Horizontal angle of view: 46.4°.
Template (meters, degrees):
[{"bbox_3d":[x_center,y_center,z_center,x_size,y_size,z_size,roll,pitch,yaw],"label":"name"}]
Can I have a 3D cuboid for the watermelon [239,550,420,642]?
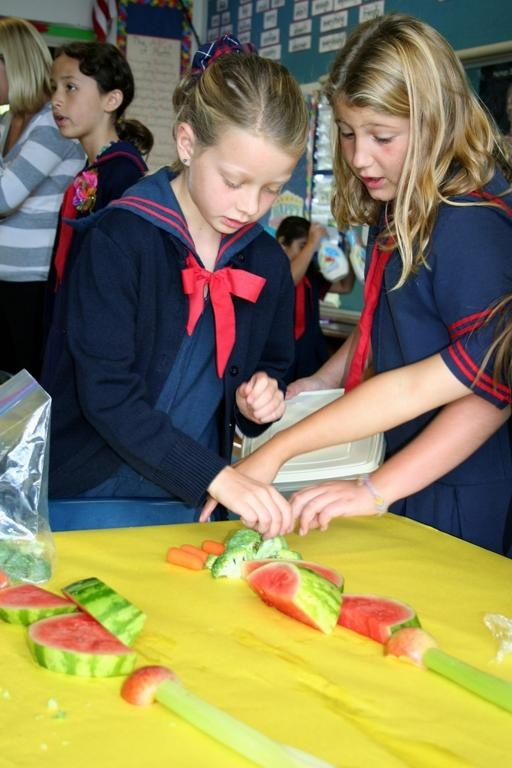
[{"bbox_3d":[0.095,0.261,0.845,0.199,0.088,0.146,-3,9,-23],"label":"watermelon"}]

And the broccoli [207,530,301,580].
[{"bbox_3d":[-0.008,0.272,0.953,0.081,0.020,0.079,-5,9,7],"label":"broccoli"}]

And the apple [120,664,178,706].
[{"bbox_3d":[-0.106,0.297,0.602,0.043,0.026,0.058,2,8,-12],"label":"apple"}]

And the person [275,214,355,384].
[{"bbox_3d":[0.369,-0.624,4.152,0.481,1.293,0.471,-7,17,-33],"label":"person"}]

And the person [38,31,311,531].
[{"bbox_3d":[-0.168,-0.076,1.268,0.531,1.099,0.480,-9,22,-31],"label":"person"}]

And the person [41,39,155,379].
[{"bbox_3d":[-0.658,-0.726,2.481,0.538,1.275,0.490,19,24,31],"label":"person"}]

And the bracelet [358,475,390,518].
[{"bbox_3d":[0.228,0.216,1.166,0.028,0.075,0.056,-21,-3,-5],"label":"bracelet"}]
